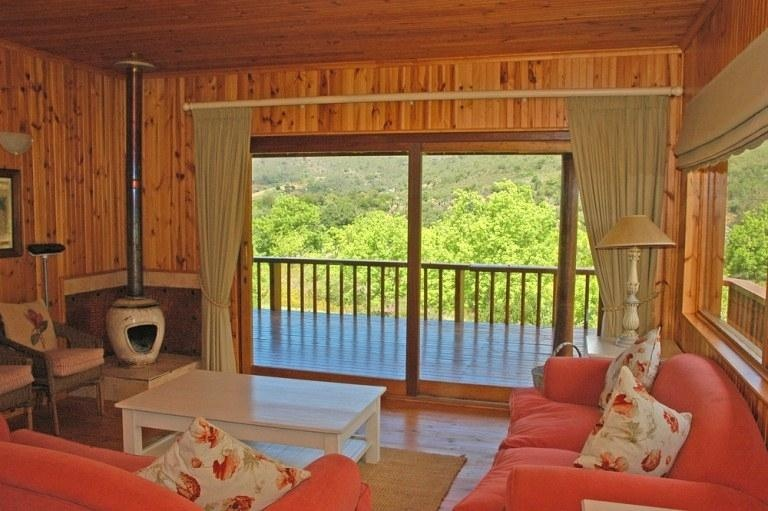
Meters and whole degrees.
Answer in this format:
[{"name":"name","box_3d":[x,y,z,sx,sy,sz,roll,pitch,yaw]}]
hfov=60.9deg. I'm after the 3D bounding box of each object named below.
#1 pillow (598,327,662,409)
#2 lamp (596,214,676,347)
[{"name":"pillow","box_3d":[1.622,0.751,4.293,0.287,0.450,0.489,-4,-14,-1]},{"name":"lamp","box_3d":[1.990,0.207,5.220,0.536,1.074,0.622,6,13,22]}]
